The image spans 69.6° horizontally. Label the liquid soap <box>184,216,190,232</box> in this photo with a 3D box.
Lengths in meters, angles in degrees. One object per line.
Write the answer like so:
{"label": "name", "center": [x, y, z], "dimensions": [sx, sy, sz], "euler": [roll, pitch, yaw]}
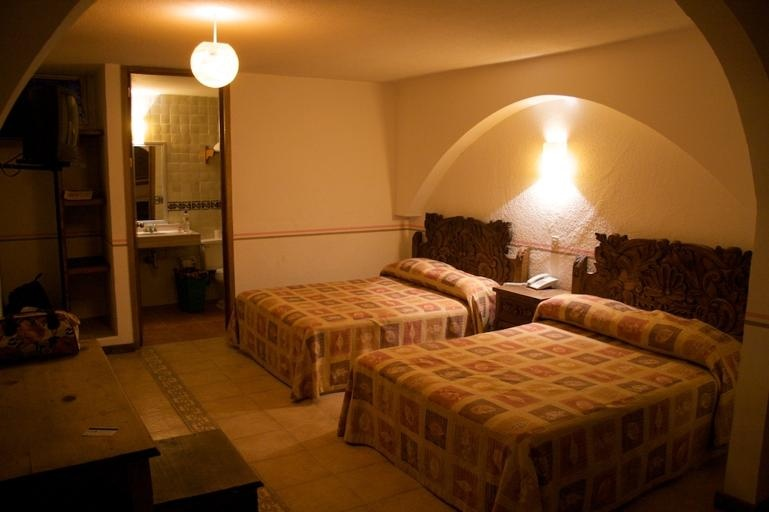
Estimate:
{"label": "liquid soap", "center": [-2.772, -0.467, 7.663], "dimensions": [0.104, 0.222, 0.149], "euler": [-5, 15, -17]}

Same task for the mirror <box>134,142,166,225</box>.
{"label": "mirror", "center": [-3.185, -0.980, 7.417], "dimensions": [0.051, 1.075, 0.510], "euler": [18, 20, 36]}

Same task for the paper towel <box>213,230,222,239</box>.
{"label": "paper towel", "center": [-2.393, -0.306, 7.865], "dimensions": [0.169, 0.155, 0.106], "euler": [0, 4, -12]}

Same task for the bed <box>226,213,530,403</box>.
{"label": "bed", "center": [0.008, 0.456, 5.777], "dimensions": [2.446, 1.207, 1.930], "euler": [-6, 13, -30]}

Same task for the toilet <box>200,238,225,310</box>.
{"label": "toilet", "center": [-2.419, 0.214, 7.744], "dimensions": [0.286, 0.893, 0.484], "euler": [-5, 15, -18]}

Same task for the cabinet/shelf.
{"label": "cabinet/shelf", "center": [-3.337, -0.284, 6.167], "dimensions": [0.544, 2.143, 0.817], "euler": [-9, 17, -29]}
